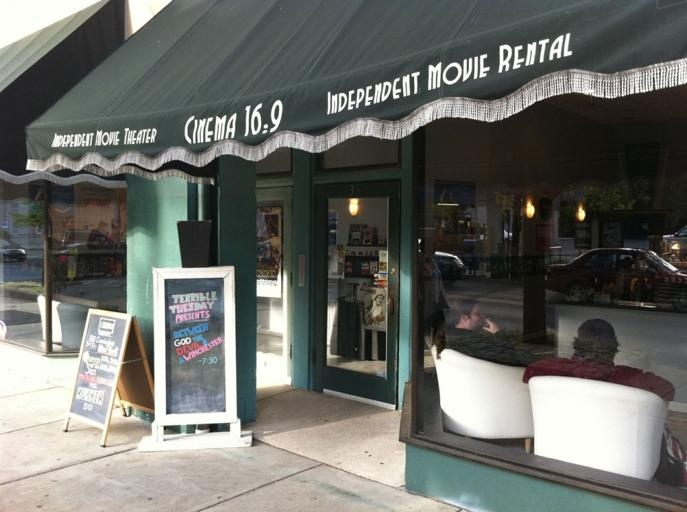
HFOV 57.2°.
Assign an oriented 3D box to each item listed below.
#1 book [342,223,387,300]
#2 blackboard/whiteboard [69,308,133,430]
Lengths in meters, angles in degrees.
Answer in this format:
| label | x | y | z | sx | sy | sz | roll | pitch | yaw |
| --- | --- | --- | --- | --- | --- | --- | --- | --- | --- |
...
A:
| label | x | y | z | sx | sy | sz | roll | pitch | yaw |
| --- | --- | --- | --- | --- | --- | --- | --- | --- | --- |
| book | 0.250 | 0.017 | 7.322 | 0.606 | 0.793 | 0.088 | 6 | 9 | 40 |
| blackboard/whiteboard | -2.496 | 1.161 | 6.445 | 0.690 | 1.119 | 0.435 | 4 | 8 | 32 |
